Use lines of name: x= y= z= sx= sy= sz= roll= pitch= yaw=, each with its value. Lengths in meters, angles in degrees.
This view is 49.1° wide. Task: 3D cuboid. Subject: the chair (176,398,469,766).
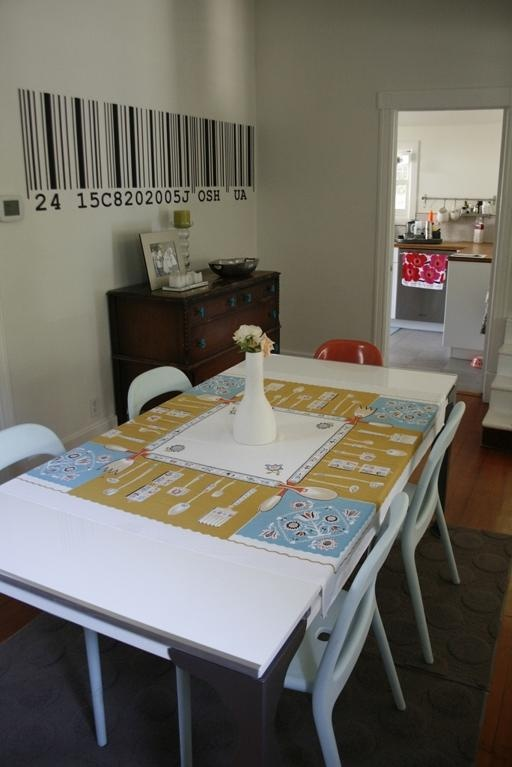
chair: x=0.151 y=0.454 z=1.298 sx=0.259 sy=0.468 sz=0.683 roll=15 pitch=35 yaw=28

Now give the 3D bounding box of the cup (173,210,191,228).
cup: x=-0.445 y=-0.994 z=3.435 sx=0.104 sy=0.103 sz=0.107 roll=1 pitch=28 yaw=0

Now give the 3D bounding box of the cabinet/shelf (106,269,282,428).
cabinet/shelf: x=-0.368 y=-0.182 z=2.741 sx=0.312 sy=0.722 sz=0.758 roll=9 pitch=24 yaw=25

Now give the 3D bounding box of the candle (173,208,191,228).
candle: x=-0.446 y=-0.999 z=3.433 sx=0.105 sy=0.104 sz=0.108 roll=9 pitch=28 yaw=16

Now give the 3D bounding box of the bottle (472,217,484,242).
bottle: x=2.497 y=-1.698 z=6.270 sx=0.111 sy=0.270 sz=0.152 roll=3 pitch=14 yaw=22

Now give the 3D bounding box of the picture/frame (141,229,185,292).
picture/frame: x=-0.559 y=-0.722 z=3.309 sx=0.023 sy=0.296 sz=0.347 roll=-3 pitch=22 yaw=21

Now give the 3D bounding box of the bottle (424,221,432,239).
bottle: x=1.970 y=-1.736 z=6.365 sx=0.082 sy=0.188 sz=0.250 roll=1 pitch=13 yaw=16
